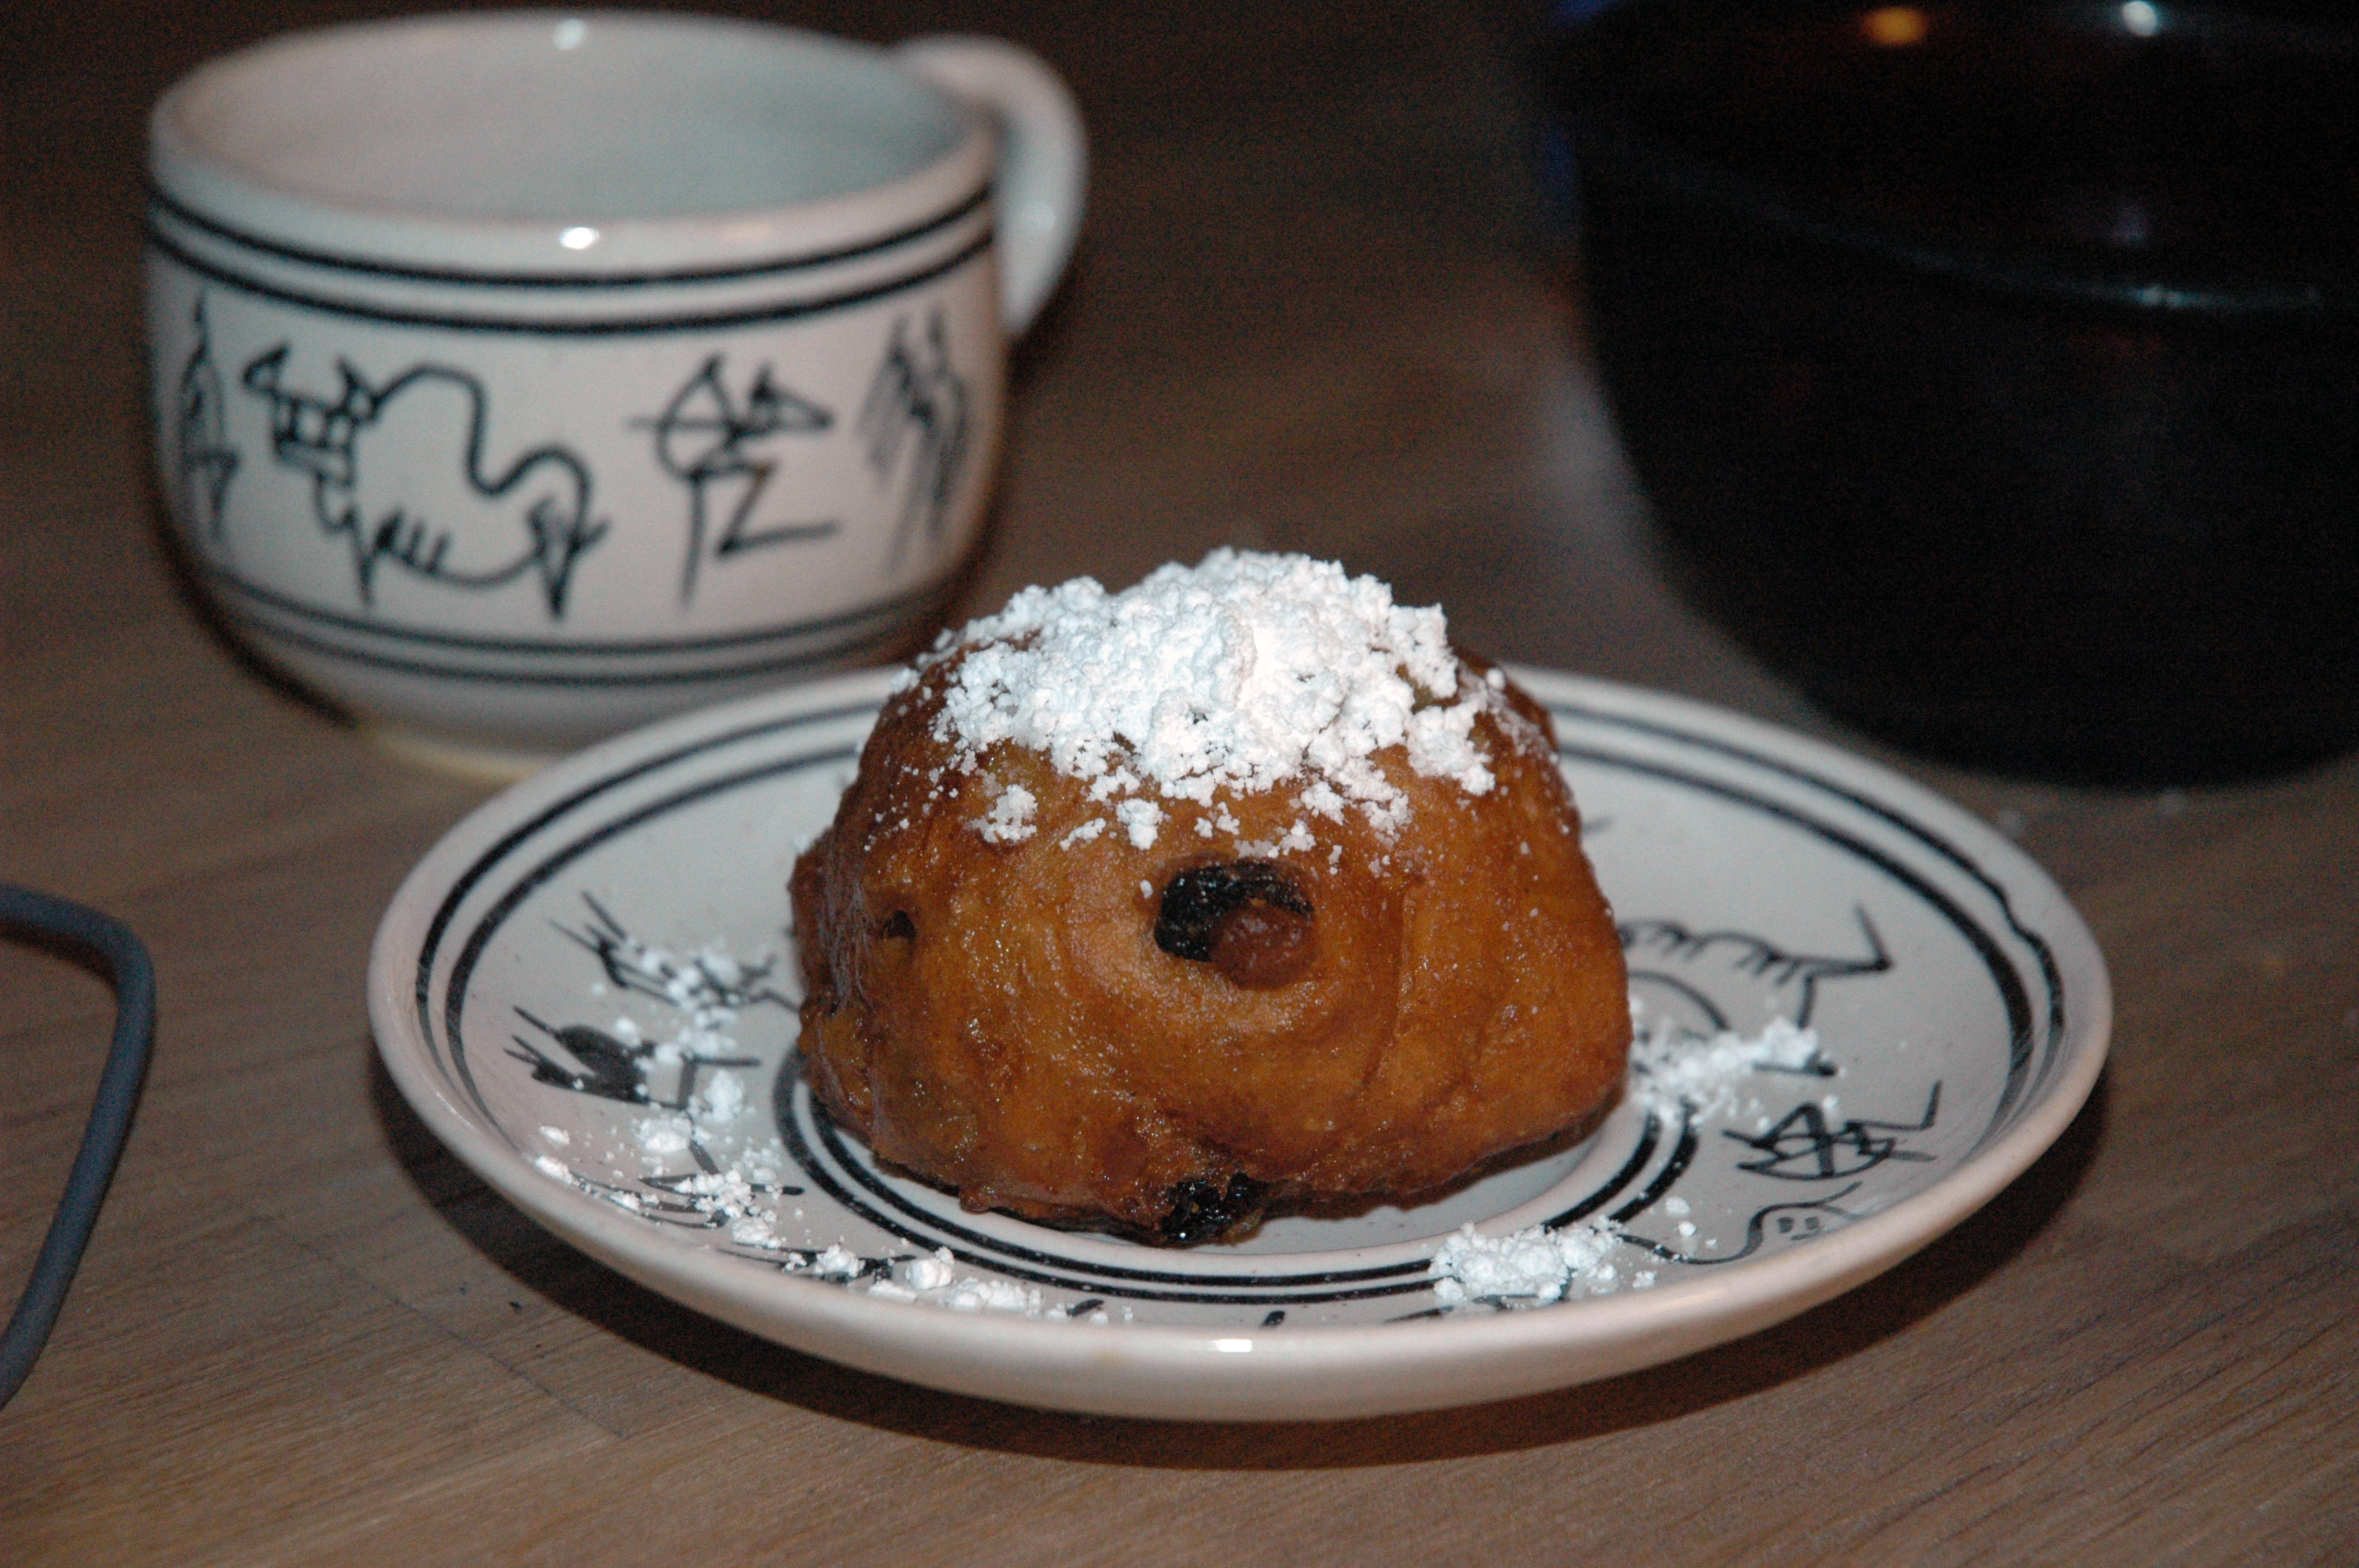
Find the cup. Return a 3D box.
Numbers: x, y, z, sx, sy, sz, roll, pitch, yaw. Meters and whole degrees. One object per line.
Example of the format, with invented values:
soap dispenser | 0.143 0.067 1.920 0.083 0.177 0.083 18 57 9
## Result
cup | -0.329 -0.233 1.497 0.510 0.339 0.396 -7 32 -21
